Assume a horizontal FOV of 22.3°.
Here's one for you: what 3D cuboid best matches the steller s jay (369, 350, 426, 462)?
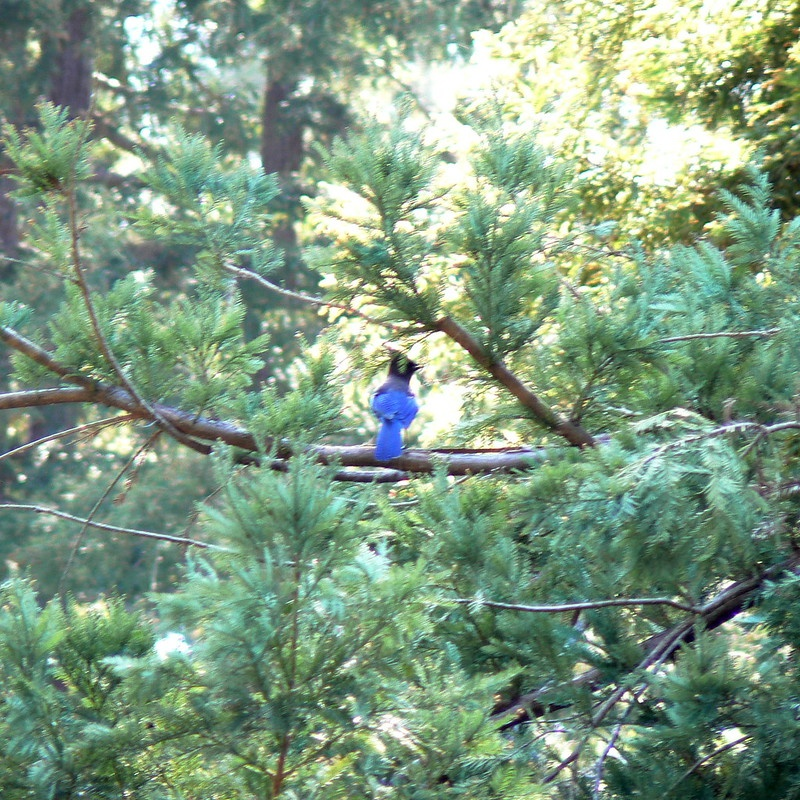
[{"bbox_3d":[-0.049,0.051,11.387,0.298,0.839,0.505,6,-75,3],"label":"steller s jay"}]
